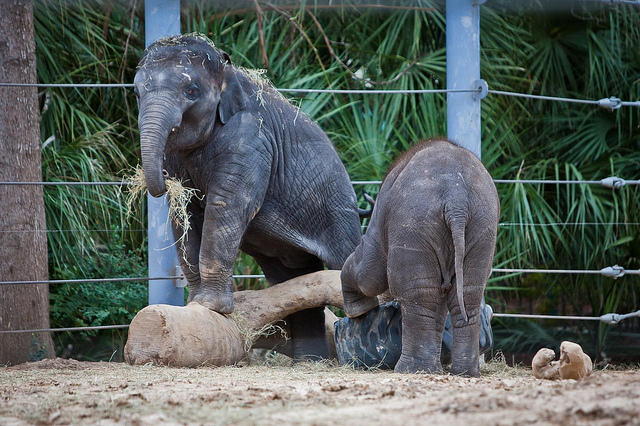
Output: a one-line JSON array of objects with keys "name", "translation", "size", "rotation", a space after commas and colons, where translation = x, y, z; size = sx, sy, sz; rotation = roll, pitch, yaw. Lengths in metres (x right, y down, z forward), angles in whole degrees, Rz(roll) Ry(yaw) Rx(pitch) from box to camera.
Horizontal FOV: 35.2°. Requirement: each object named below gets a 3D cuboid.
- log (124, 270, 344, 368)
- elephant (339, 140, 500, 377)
[{"name": "log", "translation": [-0.687, 0.794, 7.134], "size": [0.593, 0.598, 2.218], "rotation": [4, 6, 41]}, {"name": "elephant", "translation": [0.699, 0.293, 7.427], "size": [0.819, 1.695, 1.968], "rotation": [1, 0, -11]}]
